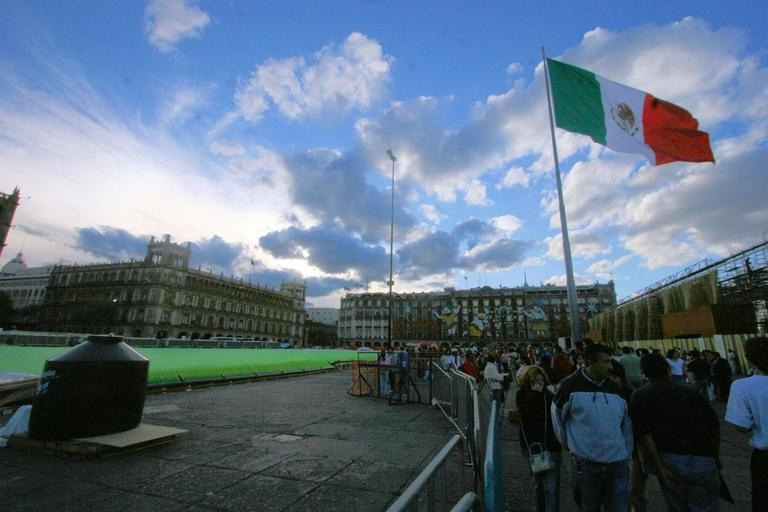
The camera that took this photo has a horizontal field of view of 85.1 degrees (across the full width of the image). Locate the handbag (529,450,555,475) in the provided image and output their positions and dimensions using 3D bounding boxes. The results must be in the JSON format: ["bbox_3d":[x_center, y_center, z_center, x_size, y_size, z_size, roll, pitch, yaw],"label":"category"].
[{"bbox_3d":[2.572,3.333,6.766,0.361,0.380,0.177,-15,-11,10],"label":"handbag"}]

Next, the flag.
[{"bbox_3d":[8.725,-5.270,15.163,4.636,5.158,0.448,-5,-17,7],"label":"flag"}]
